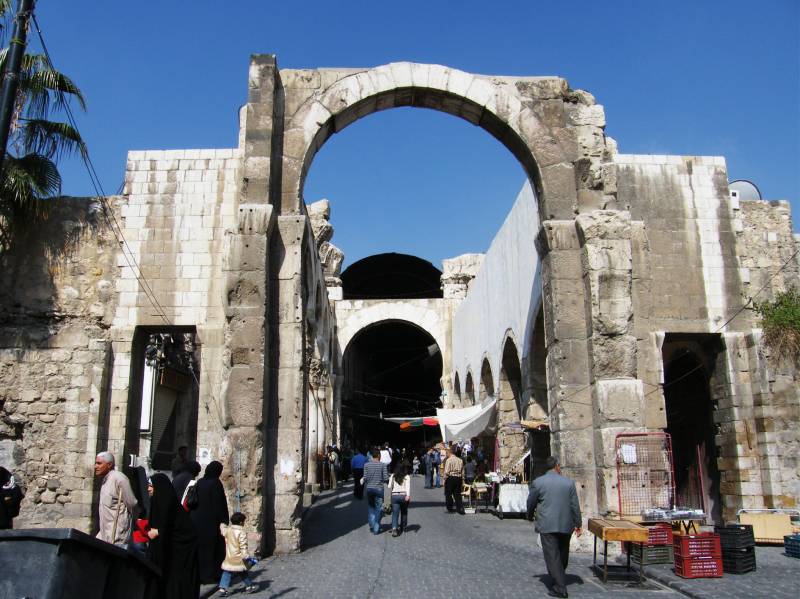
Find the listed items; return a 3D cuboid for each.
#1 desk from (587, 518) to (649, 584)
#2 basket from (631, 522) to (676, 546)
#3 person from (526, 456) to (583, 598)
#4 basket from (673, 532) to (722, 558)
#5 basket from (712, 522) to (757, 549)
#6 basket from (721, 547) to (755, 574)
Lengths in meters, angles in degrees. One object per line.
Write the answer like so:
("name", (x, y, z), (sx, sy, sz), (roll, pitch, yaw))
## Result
("desk", (3.102, 3.540, 10.452), (0.610, 0.836, 1.110), (-1, -8, 9))
("basket", (3.702, 3.402, 10.759), (0.529, 0.414, 0.320), (3, -7, -5))
("person", (2.125, 3.060, 10.128), (0.695, 1.816, 0.630), (-3, -13, 13))
("basket", (4.264, 3.459, 10.494), (0.400, 0.284, 0.424), (1, -8, 4))
("basket", (4.976, 3.446, 10.923), (0.401, 0.281, 0.423), (-4, -9, 23))
("basket", (4.941, 3.783, 10.796), (0.395, 0.271, 0.394), (12, -17, -42))
